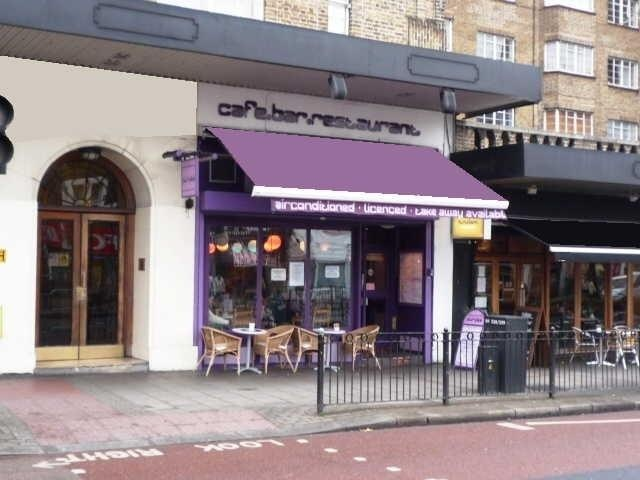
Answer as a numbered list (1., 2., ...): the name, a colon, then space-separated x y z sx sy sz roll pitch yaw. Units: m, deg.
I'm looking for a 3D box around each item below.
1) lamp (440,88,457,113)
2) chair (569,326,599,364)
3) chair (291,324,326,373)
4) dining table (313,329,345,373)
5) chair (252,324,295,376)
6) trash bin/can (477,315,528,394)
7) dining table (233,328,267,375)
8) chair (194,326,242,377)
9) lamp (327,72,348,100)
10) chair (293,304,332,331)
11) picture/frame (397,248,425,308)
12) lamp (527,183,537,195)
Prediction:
1. lamp: 2.920 -3.197 19.650 0.346 0.502 0.527 1 6 7
2. chair: 5.551 2.245 17.965 0.560 0.620 1.461 3 6 18
3. chair: -0.235 2.415 19.403 0.811 0.853 0.835 2 -1 -30
4. dining table: 0.264 2.452 19.190 0.676 1.126 0.781 11 -18 -31
5. chair: -0.978 2.437 19.065 0.838 1.249 0.963 2 -4 -20
6. trash bin/can: 3.583 2.247 16.839 0.999 1.424 0.847 1 5 3
7. dining table: -1.575 2.449 19.013 0.777 1.007 0.840 0 -4 6
8. chair: -2.238 2.301 18.814 0.838 1.276 1.033 -1 3 -21
9. lamp: 0.380 -3.258 18.830 0.406 0.865 0.506 2 -8 -17
10. chair: -0.159 1.699 20.229 0.732 0.592 0.461 4 -9 -28
11. picture/frame: 2.329 0.980 21.761 0.128 1.895 1.314 2 -3 -24
12. lamp: 5.317 -1.251 21.463 0.183 0.219 0.207 0 1 3
